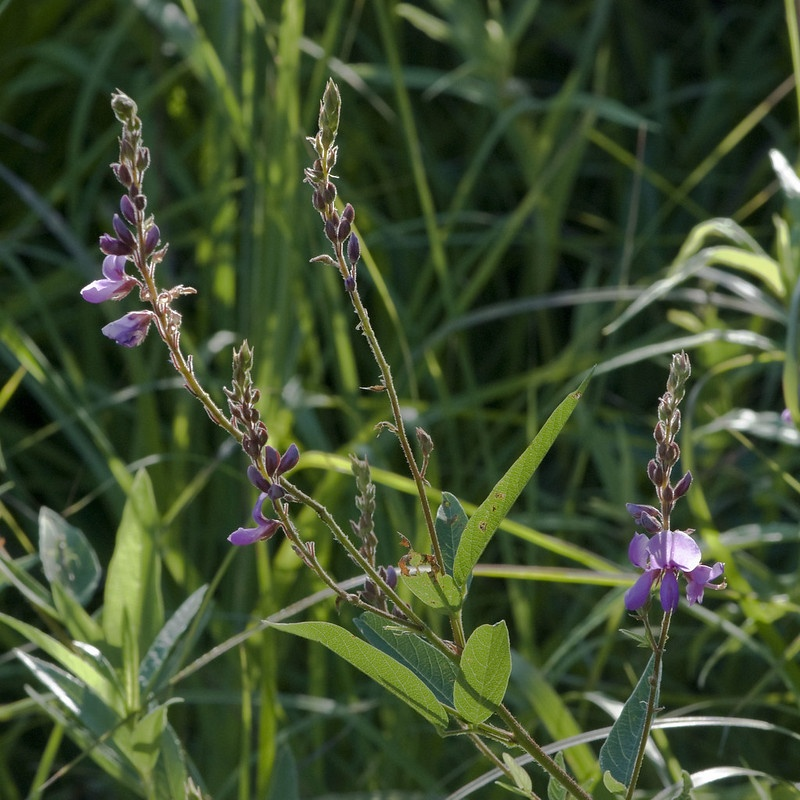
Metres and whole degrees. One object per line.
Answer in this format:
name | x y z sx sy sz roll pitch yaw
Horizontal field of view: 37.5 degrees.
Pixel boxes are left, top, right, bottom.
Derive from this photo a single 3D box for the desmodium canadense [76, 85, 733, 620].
desmodium canadense | 0.080 0.003 1.195 0.434 0.676 0.521 -8 1 21
